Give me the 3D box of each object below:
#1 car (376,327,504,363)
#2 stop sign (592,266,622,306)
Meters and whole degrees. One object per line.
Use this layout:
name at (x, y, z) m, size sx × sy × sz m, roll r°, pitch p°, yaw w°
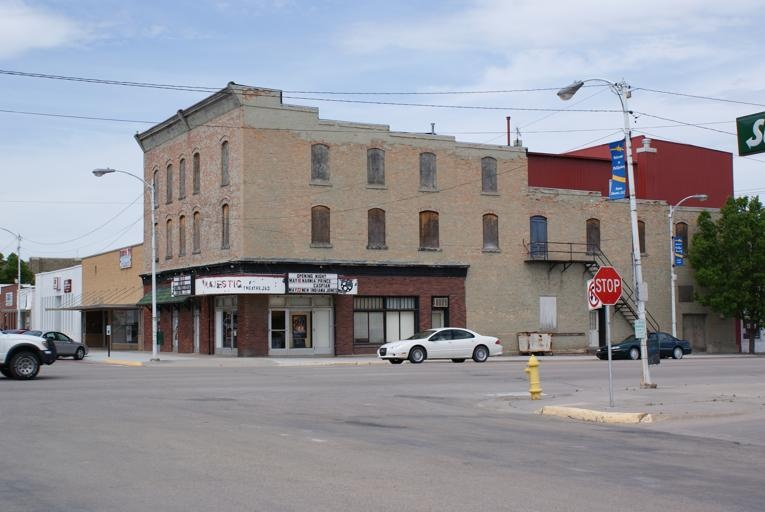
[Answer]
car at (2.612, 4.094, 48.343) m, size 5.698 × 1.469 × 2.163 m, roll 2°, pitch 1°, yaw -25°
stop sign at (6.823, 0.928, 31.859) m, size 0.980 × 1.153 × 0.413 m, roll 5°, pitch -11°, yaw -37°
